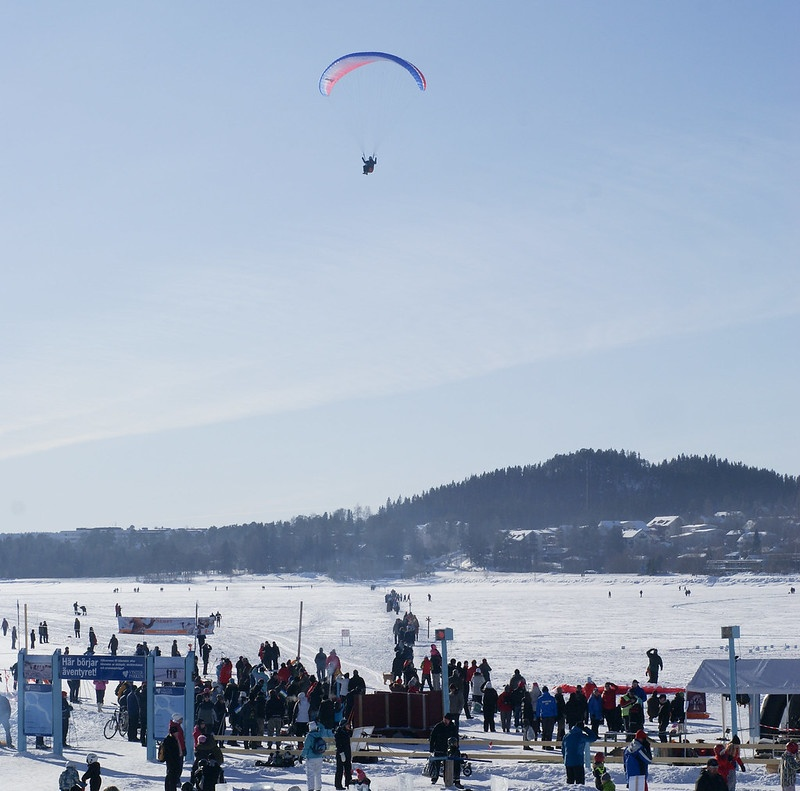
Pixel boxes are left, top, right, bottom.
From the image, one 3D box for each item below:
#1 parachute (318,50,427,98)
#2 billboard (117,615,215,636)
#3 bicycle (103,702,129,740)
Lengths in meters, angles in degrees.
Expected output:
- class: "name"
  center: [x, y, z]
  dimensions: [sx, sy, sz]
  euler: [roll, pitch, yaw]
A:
- class: "parachute"
  center: [-1.714, -12.556, 72.821]
  dimensions: [4.051, 1.199, 4.057]
  euler: [-2, 1, 18]
- class: "billboard"
  center: [-9.198, 8.809, 72.822]
  dimensions: [3.244, 0.715, 4.179]
  euler: [-3, 1, -13]
- class: "bicycle"
  center: [-9.722, 11.162, 65.002]
  dimensions: [0.600, 0.873, 1.326]
  euler: [17, -12, 13]
